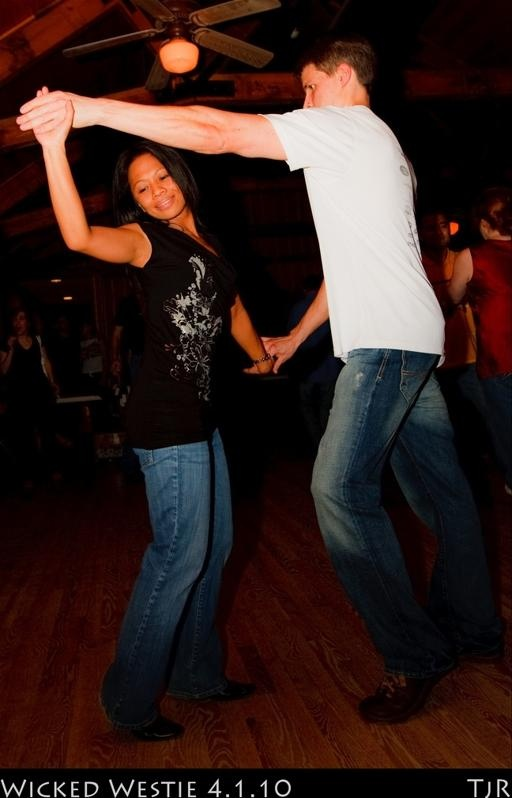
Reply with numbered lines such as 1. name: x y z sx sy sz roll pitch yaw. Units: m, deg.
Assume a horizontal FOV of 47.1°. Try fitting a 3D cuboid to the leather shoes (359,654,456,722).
1. leather shoes: 0.346 0.697 1.397 0.242 0.095 0.088 -2 7 -38
